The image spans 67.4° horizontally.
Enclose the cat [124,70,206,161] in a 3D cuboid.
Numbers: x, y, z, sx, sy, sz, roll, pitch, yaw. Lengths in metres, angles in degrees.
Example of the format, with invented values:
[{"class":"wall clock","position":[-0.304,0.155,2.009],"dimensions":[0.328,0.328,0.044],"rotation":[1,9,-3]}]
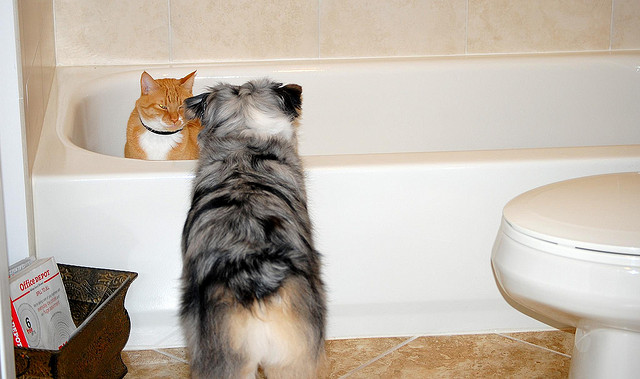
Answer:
[{"class":"cat","position":[-0.528,-0.246,1.678],"dimensions":[0.250,0.351,0.370],"rotation":[3,-2,-14]}]

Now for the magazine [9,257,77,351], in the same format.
[{"class":"magazine","position":[-0.746,0.311,1.287],"dimensions":[0.093,0.238,0.235],"rotation":[-8,-3,9]}]

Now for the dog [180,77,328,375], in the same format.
[{"class":"dog","position":[-0.182,0.006,1.462],"dimensions":[0.302,0.995,0.487],"rotation":[-2,-28,-1]}]
